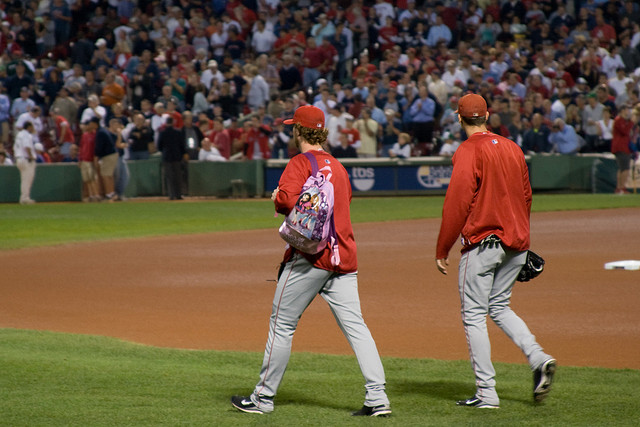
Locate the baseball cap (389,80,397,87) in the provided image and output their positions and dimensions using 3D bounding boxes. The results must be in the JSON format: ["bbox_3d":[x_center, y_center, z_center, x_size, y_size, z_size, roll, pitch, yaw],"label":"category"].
[{"bbox_3d":[1.740,-2.963,31.265,0.176,0.143,0.191,0,2,2],"label":"baseball cap"}]

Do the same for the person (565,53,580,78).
[{"bbox_3d":[6.182,-3.534,32.726,0.343,0.605,0.811,0,2,10],"label":"person"}]

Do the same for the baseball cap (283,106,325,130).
[{"bbox_3d":[-0.166,-1.253,17.832,0.419,0.221,0.288,7,9,9],"label":"baseball cap"}]

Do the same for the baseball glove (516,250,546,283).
[{"bbox_3d":[2.931,0.728,18.288,0.433,0.149,0.305,-8,-12,-12],"label":"baseball glove"}]

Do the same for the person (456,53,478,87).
[{"bbox_3d":[3.560,-3.398,32.143,0.494,0.858,1.262,0,2,7],"label":"person"}]

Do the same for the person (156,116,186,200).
[{"bbox_3d":[-2.657,-0.979,24.406,0.544,1.452,0.453,-2,4,-2],"label":"person"}]

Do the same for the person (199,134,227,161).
[{"bbox_3d":[-2.091,-1.272,26.317,0.443,0.303,1.045,19,7,18],"label":"person"}]

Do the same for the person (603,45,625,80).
[{"bbox_3d":[7.129,-3.611,32.427,0.487,0.890,1.054,0,2,16],"label":"person"}]

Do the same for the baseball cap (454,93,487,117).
[{"bbox_3d":[2.078,-1.439,18.187,0.370,0.318,0.175,0,2,5],"label":"baseball cap"}]

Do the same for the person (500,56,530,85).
[{"bbox_3d":[4.819,-3.434,32.670,0.620,0.737,0.817,0,2,23],"label":"person"}]

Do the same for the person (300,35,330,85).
[{"bbox_3d":[-0.071,-3.658,32.808,0.692,1.091,0.459,-1,2,-1],"label":"person"}]

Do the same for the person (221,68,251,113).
[{"bbox_3d":[-1.789,-2.643,29.313,0.585,0.980,1.412,-1,2,-1],"label":"person"}]
